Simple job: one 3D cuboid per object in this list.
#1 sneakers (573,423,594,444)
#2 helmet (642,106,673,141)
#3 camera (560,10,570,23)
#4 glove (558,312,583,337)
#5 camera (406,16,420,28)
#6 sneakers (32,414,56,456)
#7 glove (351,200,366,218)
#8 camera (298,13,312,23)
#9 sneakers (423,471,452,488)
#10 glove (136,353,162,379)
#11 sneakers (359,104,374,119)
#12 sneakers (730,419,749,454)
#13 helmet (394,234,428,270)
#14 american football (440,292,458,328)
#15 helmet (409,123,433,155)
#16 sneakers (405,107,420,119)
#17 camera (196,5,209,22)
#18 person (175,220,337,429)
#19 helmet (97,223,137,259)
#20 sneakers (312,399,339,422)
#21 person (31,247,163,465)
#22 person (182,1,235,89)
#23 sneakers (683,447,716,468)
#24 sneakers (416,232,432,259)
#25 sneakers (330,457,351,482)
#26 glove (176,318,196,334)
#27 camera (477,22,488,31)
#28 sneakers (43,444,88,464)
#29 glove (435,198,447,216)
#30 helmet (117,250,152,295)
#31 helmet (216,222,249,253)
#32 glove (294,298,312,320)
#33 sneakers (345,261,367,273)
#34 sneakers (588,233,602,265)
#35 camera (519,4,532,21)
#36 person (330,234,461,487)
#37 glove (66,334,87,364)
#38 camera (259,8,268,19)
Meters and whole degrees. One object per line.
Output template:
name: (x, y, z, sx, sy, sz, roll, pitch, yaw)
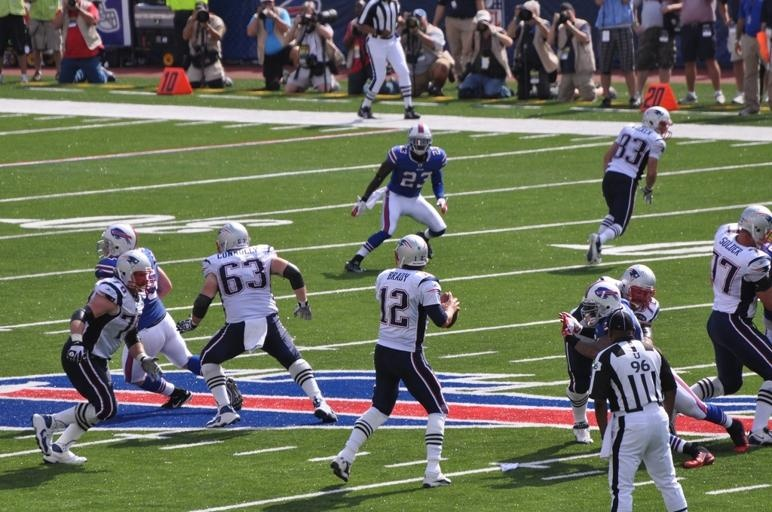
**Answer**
sneakers: (2.096, 1.906, 16.115, 0.140, 0.181, 0.264, -2, -11, -3)
helmet: (3.791, -1.903, 21.129, 0.454, 0.405, 0.360, 7, 14, -4)
camera: (3.490, -4.723, 29.640, 0.176, 0.226, 0.216, 11, 12, 8)
glove: (1.894, 0.722, 15.516, 0.199, 0.130, 0.265, -5, -22, -2)
camera: (0.566, -4.841, 31.099, 0.161, 0.270, 0.208, -13, -18, -3)
sneakers: (-3.579, 1.895, 15.883, 0.214, 0.436, 0.165, -5, 6, -35)
glove: (-0.391, -0.668, 21.157, 0.228, 0.198, 0.088, -49, 16, -12)
camera: (-1.692, -5.050, 32.067, 0.233, 0.237, 0.177, -38, 22, 17)
sneakers: (0.517, 2.296, 15.292, 0.283, 0.128, 0.121, -5, 43, -5)
glove: (-2.521, 1.214, 16.214, 0.091, 0.313, 0.202, -19, 30, 39)
sneakers: (-0.392, -2.771, 28.988, 0.134, 0.182, 0.406, 20, 21, 16)
sneakers: (3.676, 1.885, 15.832, 0.294, 0.356, 0.180, -2, 5, -14)
helmet: (0.277, -0.008, 15.849, 0.349, 0.400, 0.443, -4, 4, -24)
american football: (0.654, 0.550, 15.737, 0.252, 0.318, 0.102, 2, -2, 10)
helmet: (0.468, -1.667, 20.901, 0.341, 0.415, 0.483, -2, 15, -14)
sneakers: (0.515, -2.746, 28.933, 0.287, 0.262, 0.383, -1, 5, -2)
camera: (-3.947, -5.296, 32.722, 0.283, 0.442, 0.361, -1, 5, -3)
person: (-1.538, 0.925, 17.963, 1.517, 2.258, 1.104, -26, -38, 28)
helmet: (-2.969, -0.179, 16.928, 0.460, 0.437, 0.380, 8, 10, 37)
sneakers: (-0.650, 1.729, 16.652, 0.146, 0.370, 0.201, -32, 49, 5)
person: (-3.086, 1.085, 16.043, 1.293, 2.222, 0.350, -3, 5, -18)
person: (-3.974, -4.660, 33.322, 0.882, 1.841, 1.444, -2, 5, -7)
sneakers: (3.214, 2.066, 15.535, 0.408, 0.182, 0.146, -8, 32, -35)
sneakers: (0.562, -0.152, 21.195, 0.194, 0.366, 0.227, -7, 5, 4)
sneakers: (-0.456, 2.194, 15.373, 0.191, 0.290, 0.262, -1, 5, -3)
glove: (-2.214, 0.784, 17.069, 0.204, 0.168, 0.088, -25, 18, 35)
camera: (1.948, -4.694, 30.754, 0.182, 0.210, 0.319, -4, 6, -30)
sneakers: (-3.374, 2.102, 16.008, 0.514, 0.249, 0.172, 2, 7, -7)
glove: (0.799, -0.707, 21.430, 0.106, 0.133, 0.289, -8, -24, -1)
helmet: (-2.649, 0.156, 16.276, 0.438, 0.417, 0.364, 18, 8, 1)
helmet: (-1.697, -0.200, 16.804, 0.357, 0.342, 0.287, 1, 3, 30)
glove: (-0.916, 0.587, 17.267, 0.232, 0.228, 0.084, 0, 32, 16)
sneakers: (-0.420, 0.142, 20.915, 0.216, 0.144, 0.130, -8, 31, -14)
sneakers: (2.830, -0.092, 20.577, 0.155, 0.413, 0.190, -1, 14, 24)
camera: (2.827, -4.922, 30.486, 0.084, 0.284, 0.307, -7, 14, -35)
person: (0.167, 1.243, 15.589, 1.150, 2.159, 0.818, -1, 5, 2)
glove: (-3.242, 0.980, 15.894, 0.210, 0.333, 0.173, -3, 5, -18)
camera: (-2.642, -5.263, 32.828, 0.174, 0.171, 0.393, 3, 9, 1)
